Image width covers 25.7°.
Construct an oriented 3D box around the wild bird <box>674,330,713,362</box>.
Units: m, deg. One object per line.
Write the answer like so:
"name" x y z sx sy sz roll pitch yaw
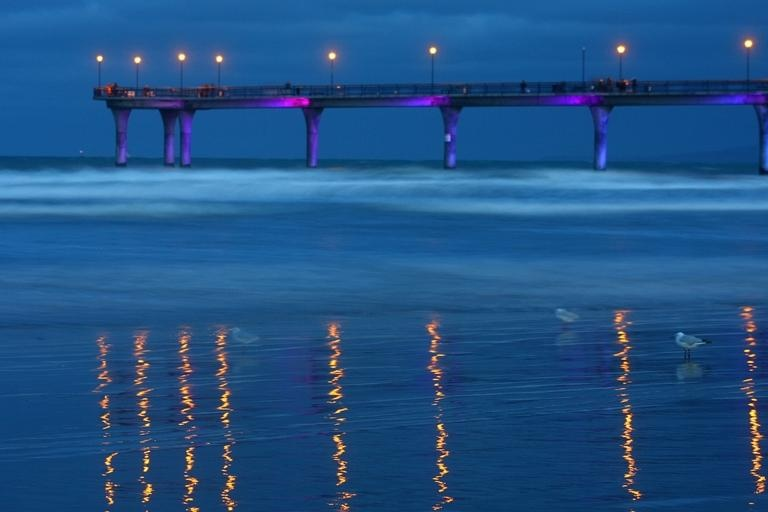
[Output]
"wild bird" 5.318 1.535 29.367 0.361 0.513 0.785 0 -2 -32
